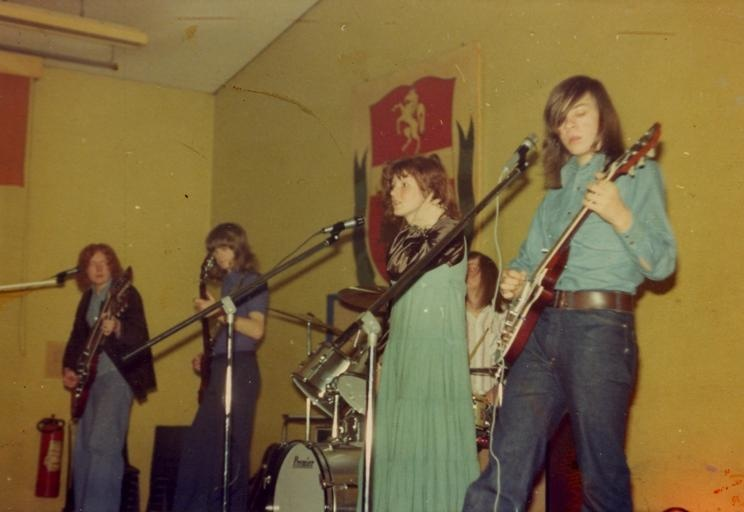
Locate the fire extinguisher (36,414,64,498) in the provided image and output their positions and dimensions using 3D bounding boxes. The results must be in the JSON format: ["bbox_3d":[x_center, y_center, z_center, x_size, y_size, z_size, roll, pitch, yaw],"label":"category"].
[{"bbox_3d":[-2.774,1.726,7.826,0.254,0.682,0.237,5,-12,-13],"label":"fire extinguisher"}]

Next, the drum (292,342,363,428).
[{"bbox_3d":[-0.276,0.738,5.843,0.451,0.399,0.748,3,-13,1],"label":"drum"}]

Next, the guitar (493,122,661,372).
[{"bbox_3d":[1.046,0.090,5.373,0.141,1.289,0.448,31,8,-13],"label":"guitar"}]

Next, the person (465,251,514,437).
[{"bbox_3d":[0.782,0.526,6.319,0.217,1.001,0.465,8,-8,-8],"label":"person"}]

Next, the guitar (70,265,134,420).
[{"bbox_3d":[-2.008,0.677,6.841,0.196,1.229,0.172,-6,-32,34],"label":"guitar"}]
